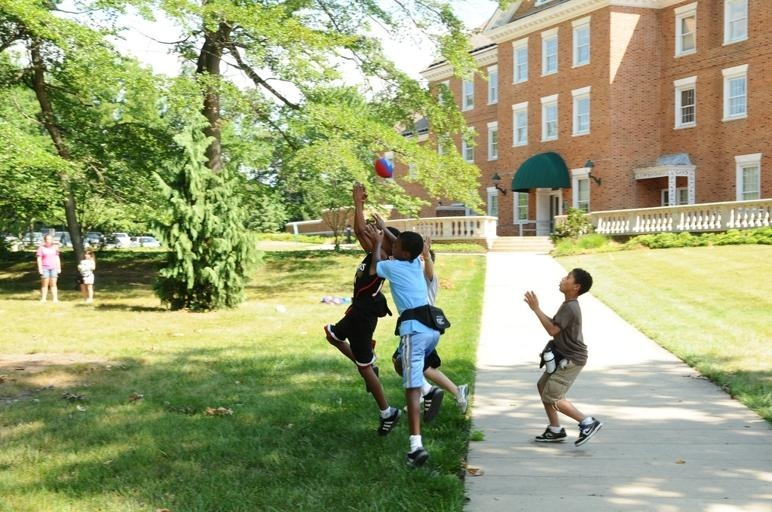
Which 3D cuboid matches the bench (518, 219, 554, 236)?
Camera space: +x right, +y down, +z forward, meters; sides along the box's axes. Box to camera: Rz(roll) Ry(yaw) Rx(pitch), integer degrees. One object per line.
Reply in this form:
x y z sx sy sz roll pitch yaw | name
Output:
8.135 -1.526 37.724 1.364 0.628 1.340 -1 -1 39 | bench

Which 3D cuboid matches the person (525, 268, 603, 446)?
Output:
2.423 1.429 9.537 1.022 2.448 0.756 -1 16 0 | person

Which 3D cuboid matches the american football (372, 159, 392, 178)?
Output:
-0.039 -1.396 11.075 0.336 0.218 0.395 28 1 -12 | american football

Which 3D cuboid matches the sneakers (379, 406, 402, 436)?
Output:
0.066 2.304 9.734 0.278 0.473 0.183 11 32 -21 | sneakers

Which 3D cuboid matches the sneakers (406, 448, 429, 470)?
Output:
0.403 2.623 9.035 0.260 0.267 0.192 -1 14 -2 | sneakers

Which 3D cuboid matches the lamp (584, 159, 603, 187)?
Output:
10.122 -4.070 33.962 0.537 1.197 1.068 -2 14 -5 | lamp

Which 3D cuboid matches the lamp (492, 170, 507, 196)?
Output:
6.410 -4.102 39.542 0.768 1.250 0.892 -2 14 -4 | lamp

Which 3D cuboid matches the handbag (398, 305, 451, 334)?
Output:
0.516 0.859 9.360 0.634 0.213 0.439 -2 -1 18 | handbag

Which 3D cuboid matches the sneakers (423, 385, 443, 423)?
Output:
0.613 2.038 9.684 0.283 0.511 0.244 28 30 36 | sneakers
